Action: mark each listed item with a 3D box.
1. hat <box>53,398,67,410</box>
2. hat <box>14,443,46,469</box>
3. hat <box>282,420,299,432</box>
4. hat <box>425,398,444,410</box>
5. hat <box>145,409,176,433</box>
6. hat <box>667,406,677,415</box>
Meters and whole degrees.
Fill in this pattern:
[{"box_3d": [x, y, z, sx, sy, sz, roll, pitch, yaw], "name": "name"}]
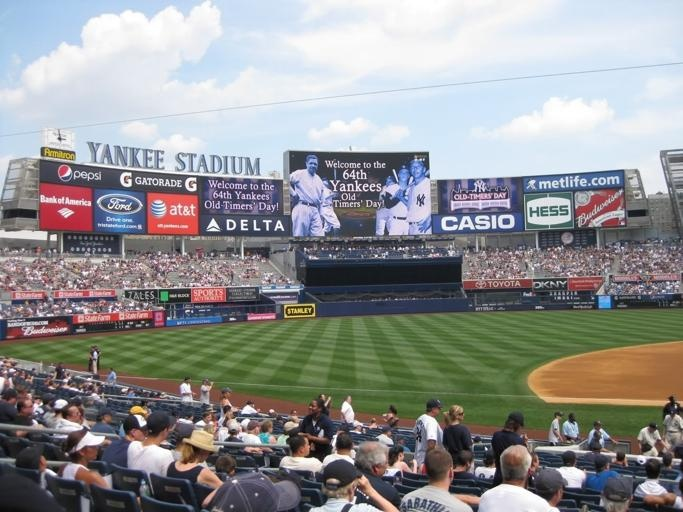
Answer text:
[{"box_3d": [-8.407, 4.443, 25.504, 0.484, 0.117, 0.414, -1, 20, 15], "name": "hat"}, {"box_3d": [-7.545, 4.952, 21.035, 0.539, 0.368, 0.748, 13, 34, 32], "name": "hat"}, {"box_3d": [-1.532, 5.131, 25.614, 0.366, 0.206, 0.450, -3, 1, -3], "name": "hat"}, {"box_3d": [2.716, 4.386, 25.157, 0.459, 0.240, 0.332, -8, 13, -44], "name": "hat"}, {"box_3d": [-4.714, 4.331, 22.514, 0.545, 0.398, 0.760, 9, 24, 20], "name": "hat"}, {"box_3d": [11.234, 5.248, 29.131, 0.275, 0.088, 0.280, -19, 11, 13], "name": "hat"}]
